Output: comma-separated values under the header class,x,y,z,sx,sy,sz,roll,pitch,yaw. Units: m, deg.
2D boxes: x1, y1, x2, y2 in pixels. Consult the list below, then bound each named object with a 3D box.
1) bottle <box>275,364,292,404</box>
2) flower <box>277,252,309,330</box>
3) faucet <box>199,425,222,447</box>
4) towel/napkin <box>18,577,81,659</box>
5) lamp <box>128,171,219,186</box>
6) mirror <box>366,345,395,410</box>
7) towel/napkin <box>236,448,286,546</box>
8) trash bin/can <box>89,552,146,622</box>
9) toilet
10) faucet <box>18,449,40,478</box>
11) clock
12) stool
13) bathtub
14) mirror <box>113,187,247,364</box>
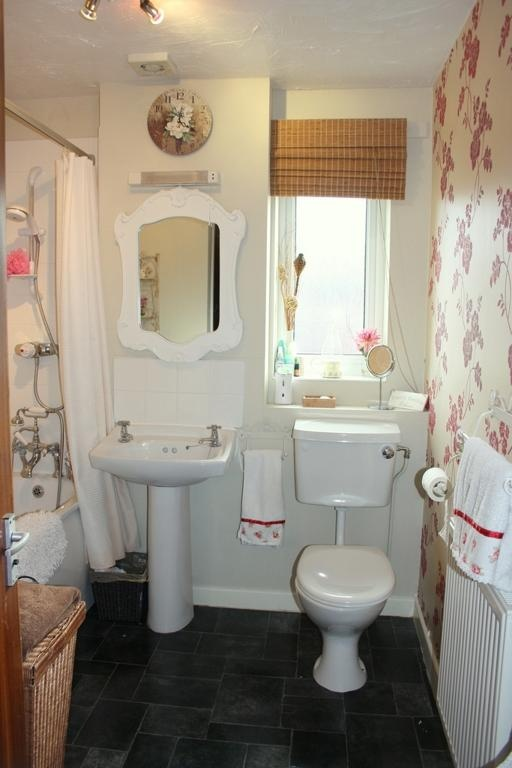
class,x,y,z,sx,sy,sz,roll,pitch,yaw
bottle,0.124,0.000,2.588,0.074,0.174,0.072,1,6,0
flower,0.167,-0.424,2.687,0.123,0.365,0.140,1,6,4
faucet,-0.183,0.224,2.485,0.060,0.108,0.105,3,1,36
towel/napkin,-0.513,0.592,1.466,0.155,0.037,0.165,-4,11,-21
lamp,-0.342,-0.858,2.423,0.379,0.065,0.055,1,6,7
mirror,0.546,-0.038,2.536,0.110,0.272,0.175,3,6,19
towel/napkin,0.023,0.478,2.476,0.191,0.400,0.113,0,6,0
trash bin/can,-0.580,0.880,2.551,0.209,0.288,0.243,0,-4,3
toilet,0.347,0.632,2.232,0.407,0.848,0.786,1,10,5
faucet,-1.079,0.373,2.749,0.117,0.162,0.054,3,-7,-2
clock,-0.308,-1.095,2.395,0.242,0.260,0.035,2,12,7
stool,-0.556,0.859,2.502,0.219,0.297,0.237,0,-3,4
bathtub,-0.908,0.639,2.560,0.347,0.678,0.311,-2,10,7
mirror,-0.307,-0.490,2.467,0.667,0.936,0.033,1,5,3
